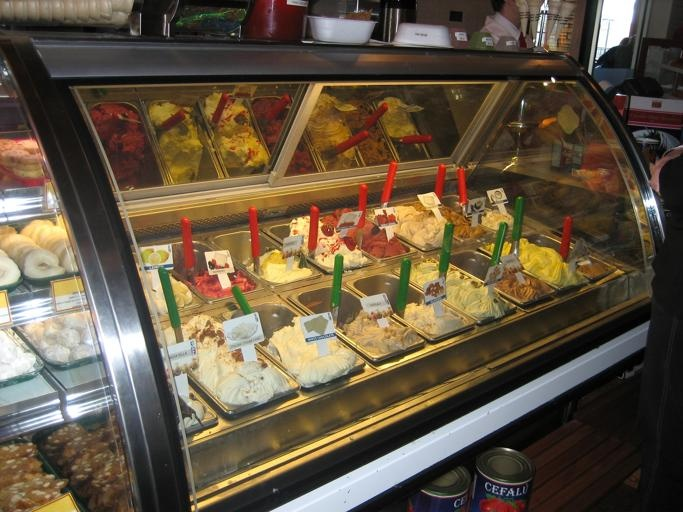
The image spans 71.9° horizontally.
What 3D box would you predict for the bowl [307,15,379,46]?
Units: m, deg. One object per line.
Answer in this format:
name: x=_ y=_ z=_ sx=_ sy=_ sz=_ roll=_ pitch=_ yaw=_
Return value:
bowl: x=-0.006 y=-0.689 z=1.483 sx=0.189 sy=0.045 sz=0.127 roll=6 pitch=22 yaw=8
